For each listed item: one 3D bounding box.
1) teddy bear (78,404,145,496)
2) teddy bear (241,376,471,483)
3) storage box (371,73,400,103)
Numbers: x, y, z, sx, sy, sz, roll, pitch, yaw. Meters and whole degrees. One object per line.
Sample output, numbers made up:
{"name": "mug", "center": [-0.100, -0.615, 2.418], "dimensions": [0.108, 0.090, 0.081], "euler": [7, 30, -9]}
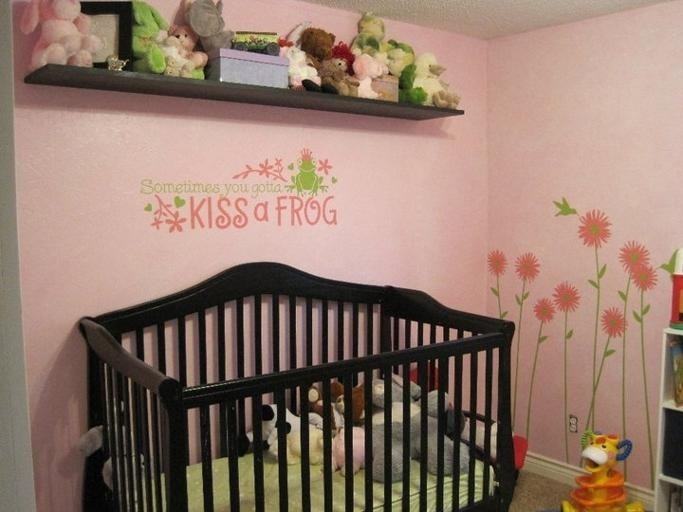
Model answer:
{"name": "teddy bear", "center": [-0.853, 0.690, 2.421], "dimensions": [0.309, 0.113, 0.312], "euler": [-18, -2, -32]}
{"name": "teddy bear", "center": [0.098, 0.723, 2.562], "dimensions": [0.748, 0.355, 0.453], "euler": [3, -3, -38]}
{"name": "storage box", "center": [0.211, -0.798, 3.029], "dimensions": [0.147, 0.158, 0.137], "euler": [0, 2, -6]}
